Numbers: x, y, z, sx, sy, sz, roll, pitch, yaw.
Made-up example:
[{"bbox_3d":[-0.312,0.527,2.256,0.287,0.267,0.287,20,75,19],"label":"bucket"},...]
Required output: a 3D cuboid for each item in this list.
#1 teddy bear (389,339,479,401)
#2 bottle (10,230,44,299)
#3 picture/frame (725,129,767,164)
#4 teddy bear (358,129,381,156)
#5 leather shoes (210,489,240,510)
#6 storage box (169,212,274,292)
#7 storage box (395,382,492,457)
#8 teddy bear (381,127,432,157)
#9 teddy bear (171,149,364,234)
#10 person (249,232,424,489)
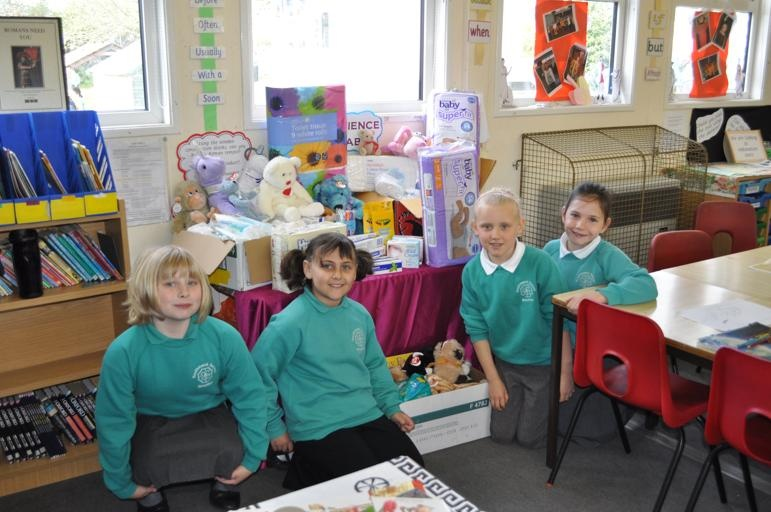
[{"bbox_3d":[0.268,0.627,2.861,0.332,0.095,0.345,-12,21,-12],"label":"teddy bear"},{"bbox_3d":[-1.619,0.034,2.351,0.123,0.304,0.097,-15,21,-33],"label":"bottle"},{"bbox_3d":[3.481,-1.051,4.998,0.513,0.285,0.281,-9,18,-20],"label":"picture/frame"},{"bbox_3d":[-0.120,-0.760,3.483,0.135,0.161,0.085,-21,30,-39],"label":"teddy bear"},{"bbox_3d":[-0.694,1.037,2.238,0.100,0.052,0.136,12,-3,-44],"label":"leather shoes"},{"bbox_3d":[-0.841,-0.053,2.741,0.422,0.195,0.411,-14,25,-39],"label":"storage box"},{"bbox_3d":[0.311,0.819,2.800,0.402,0.234,0.393,-15,13,-26],"label":"storage box"},{"bbox_3d":[0.143,-0.773,3.543,0.233,0.189,0.331,-16,21,-37],"label":"teddy bear"},{"bbox_3d":[-0.678,-0.369,3.087,1.053,0.497,0.441,-3,17,-1],"label":"teddy bear"},{"bbox_3d":[-0.211,0.484,2.317,0.718,1.091,0.552,11,22,38],"label":"person"}]
